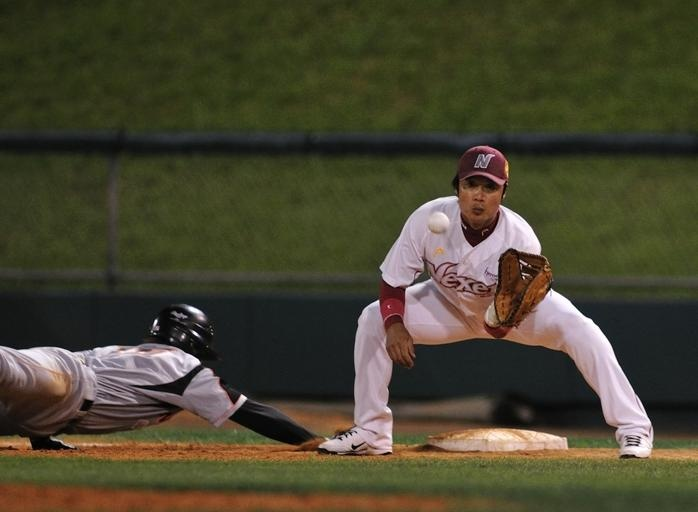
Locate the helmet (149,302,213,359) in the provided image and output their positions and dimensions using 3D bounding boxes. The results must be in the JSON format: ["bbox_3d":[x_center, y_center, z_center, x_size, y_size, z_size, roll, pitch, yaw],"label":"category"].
[{"bbox_3d":[-1.385,0.628,14.244,0.540,0.376,0.429,27,-3,-12],"label":"helmet"}]

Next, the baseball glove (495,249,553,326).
[{"bbox_3d":[1.429,0.264,14.046,0.297,0.629,0.499,25,1,-41],"label":"baseball glove"}]

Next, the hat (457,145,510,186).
[{"bbox_3d":[1.123,-0.782,14.052,0.434,0.311,0.266,-1,22,1],"label":"hat"}]

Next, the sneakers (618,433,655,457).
[{"bbox_3d":[2.416,1.604,13.957,0.263,0.219,0.177,0,22,4],"label":"sneakers"}]

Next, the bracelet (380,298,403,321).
[{"bbox_3d":[0.372,0.441,14.092,0.200,0.154,0.166,-2,22,-1],"label":"bracelet"}]

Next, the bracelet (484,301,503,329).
[{"bbox_3d":[1.236,0.493,14.080,0.068,0.189,0.146,1,0,-26],"label":"bracelet"}]

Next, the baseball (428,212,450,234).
[{"bbox_3d":[0.759,-0.287,13.989,0.162,0.194,0.153,-17,27,-35],"label":"baseball"}]

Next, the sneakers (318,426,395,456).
[{"bbox_3d":[0.069,1.571,14.178,0.627,0.239,0.236,3,-6,-5],"label":"sneakers"}]
